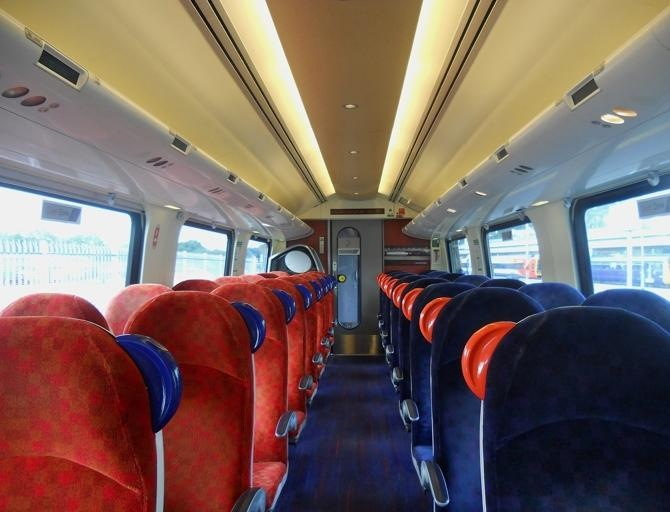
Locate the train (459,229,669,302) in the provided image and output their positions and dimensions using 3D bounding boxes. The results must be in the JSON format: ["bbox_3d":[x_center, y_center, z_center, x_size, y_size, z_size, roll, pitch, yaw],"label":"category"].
[{"bbox_3d":[2.229,0.065,4.214,0.557,0.684,2.508,-1,-5,1],"label":"train"}]
